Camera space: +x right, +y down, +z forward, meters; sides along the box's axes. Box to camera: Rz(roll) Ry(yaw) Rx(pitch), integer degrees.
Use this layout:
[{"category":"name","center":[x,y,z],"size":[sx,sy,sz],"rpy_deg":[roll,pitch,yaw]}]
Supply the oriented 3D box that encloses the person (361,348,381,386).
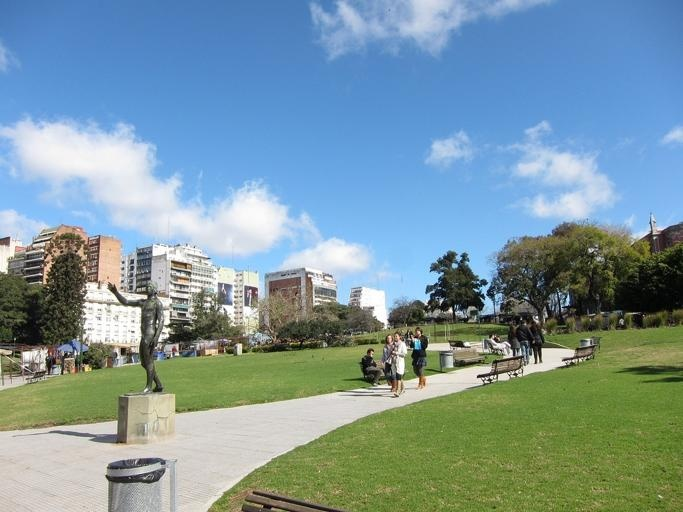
[{"category":"person","center":[1.290,4.793,22.968],"size":[0.922,1.533,2.279],"rpy_deg":[-4,-11,2]}]

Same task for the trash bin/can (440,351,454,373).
[{"category":"trash bin/can","center":[5.412,5.455,27.115],"size":[0.832,1.254,0.823],"rpy_deg":[6,-15,-20]}]

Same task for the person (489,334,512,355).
[{"category":"person","center":[9.284,5.246,30.422],"size":[1.486,1.827,0.601],"rpy_deg":[-1,-1,-33]}]

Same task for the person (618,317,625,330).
[{"category":"person","center":[21.846,5.311,41.213],"size":[0.500,0.496,0.813],"rpy_deg":[-14,-51,22]}]

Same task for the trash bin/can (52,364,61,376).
[{"category":"trash bin/can","center":[-24.172,9.766,44.809],"size":[0.749,1.081,0.771],"rpy_deg":[3,-10,-25]}]
